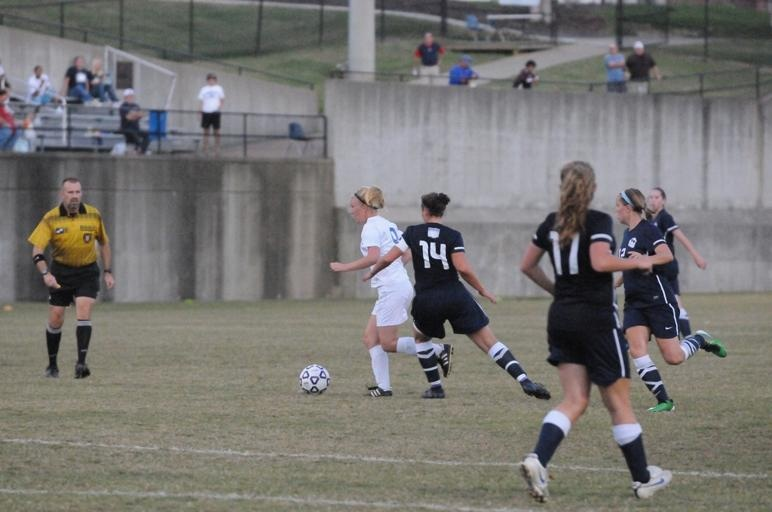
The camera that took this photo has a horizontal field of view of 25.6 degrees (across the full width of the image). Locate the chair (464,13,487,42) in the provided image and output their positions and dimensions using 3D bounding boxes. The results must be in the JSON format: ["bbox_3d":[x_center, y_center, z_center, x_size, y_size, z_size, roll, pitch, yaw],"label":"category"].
[{"bbox_3d":[3.514,-9.057,67.976,0.526,1.045,0.593,-6,6,-29],"label":"chair"}]

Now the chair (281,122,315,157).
[{"bbox_3d":[-2.877,-3.667,54.508,0.764,1.167,0.442,1,23,6],"label":"chair"}]

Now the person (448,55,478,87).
[{"bbox_3d":[2.391,-5.865,54.639,0.851,0.946,1.607,-2,5,2],"label":"person"}]

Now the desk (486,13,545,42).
[{"bbox_3d":[5.027,-9.045,67.822,2.088,1.026,1.077,-2,5,-1],"label":"desk"}]

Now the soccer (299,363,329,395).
[{"bbox_3d":[-1.703,2.817,40.225,0.707,0.618,0.657,6,24,-1],"label":"soccer"}]

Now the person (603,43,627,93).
[{"bbox_3d":[7.447,-6.024,55.362,0.623,1.550,1.029,-2,5,7],"label":"person"}]
